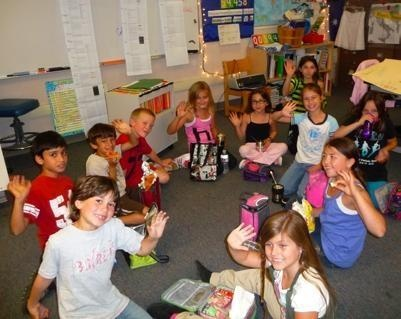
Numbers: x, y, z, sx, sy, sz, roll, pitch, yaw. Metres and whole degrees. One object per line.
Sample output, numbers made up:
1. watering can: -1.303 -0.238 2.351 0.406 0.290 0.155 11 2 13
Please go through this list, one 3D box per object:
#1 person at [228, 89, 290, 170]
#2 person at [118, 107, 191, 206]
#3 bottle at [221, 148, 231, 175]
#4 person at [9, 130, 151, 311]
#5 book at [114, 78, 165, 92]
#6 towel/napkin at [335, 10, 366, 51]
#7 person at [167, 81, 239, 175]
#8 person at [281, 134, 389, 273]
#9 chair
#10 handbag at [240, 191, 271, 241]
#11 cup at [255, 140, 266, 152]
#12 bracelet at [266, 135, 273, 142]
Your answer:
1. person: 0.657 -0.377 3.423 0.612 0.817 0.547 -13 25 -14
2. person: -0.526 -0.059 2.750 0.498 0.819 0.642 9 23 4
3. bottle: 0.287 0.020 3.336 0.099 0.263 0.096 -5 22 2
4. person: -0.876 0.249 2.208 0.645 1.100 0.891 16 31 25
5. book: -0.741 -0.913 3.653 0.480 0.093 0.621 6 26 28
6. towel/napkin: 2.894 -2.505 5.679 0.116 0.832 0.609 -25 37 -25
7. person: 0.011 -0.420 3.437 0.872 0.899 0.896 7 28 20
8. person: 0.896 0.196 2.139 0.708 0.871 0.708 6 30 30
9. chair: 0.782 -1.220 4.950 0.632 0.900 0.568 -19 25 -29
10. handbag: 0.407 0.436 2.237 0.157 0.299 0.193 4 9 44
11. cup: 0.675 -0.153 3.388 0.104 0.122 0.105 1 10 0
12. bracelet: 0.814 -0.243 3.481 0.023 0.077 0.092 22 0 -17
